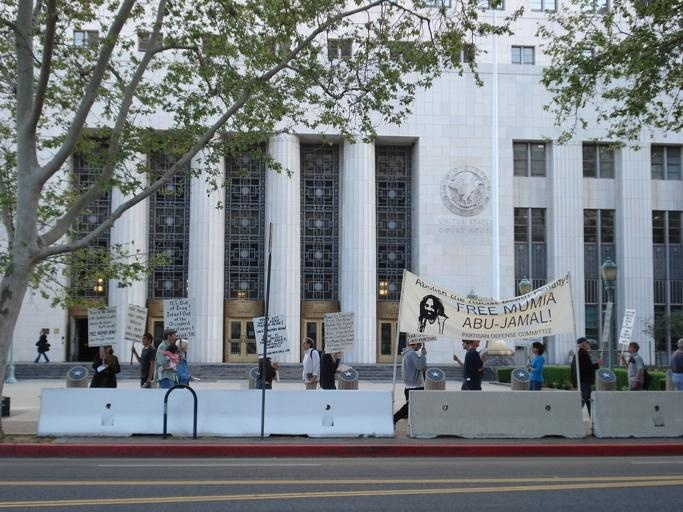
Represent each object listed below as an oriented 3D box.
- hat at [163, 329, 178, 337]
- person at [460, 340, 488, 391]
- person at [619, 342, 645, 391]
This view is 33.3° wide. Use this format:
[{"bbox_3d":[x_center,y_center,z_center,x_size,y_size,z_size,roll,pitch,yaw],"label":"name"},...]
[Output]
[{"bbox_3d":[-5.518,2.446,36.636,0.297,0.269,0.575,1,-8,-10],"label":"hat"},{"bbox_3d":[4.213,3.532,37.000,0.703,1.600,0.683,-4,-9,29],"label":"person"},{"bbox_3d":[10.078,3.753,38.891,0.576,1.596,1.508,-2,-8,14],"label":"person"}]
